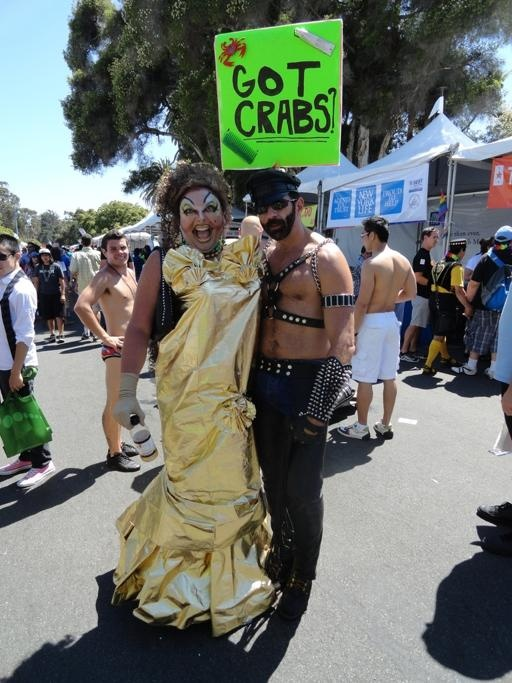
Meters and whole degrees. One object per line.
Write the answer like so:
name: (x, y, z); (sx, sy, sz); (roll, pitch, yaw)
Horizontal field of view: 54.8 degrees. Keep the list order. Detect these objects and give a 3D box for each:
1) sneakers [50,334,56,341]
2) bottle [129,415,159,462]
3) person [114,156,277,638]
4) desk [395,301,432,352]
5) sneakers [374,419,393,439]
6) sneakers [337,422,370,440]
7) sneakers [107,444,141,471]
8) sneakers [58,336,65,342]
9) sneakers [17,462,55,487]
sneakers: (-3.931, -0.039, 9.661); (0.081, 0.102, 0.237); (-3, 26, -11)
bottle: (-0.446, 0.380, 2.003); (0.109, 0.225, 0.110); (-1, 5, 0)
person: (-0.243, 0.255, 2.133); (0.899, 1.867, 0.720); (-5, 13, -18)
desk: (2.566, -0.312, 8.021); (0.568, 0.735, 0.445); (-7, -20, 42)
sneakers: (1.097, 0.767, 4.289); (0.076, 0.093, 0.221); (3, 11, -3)
sneakers: (0.837, 0.774, 4.282); (0.290, 0.132, 0.114); (5, 14, 35)
sneakers: (-1.018, 0.892, 3.795); (0.342, 0.146, 0.120); (-1, 4, 31)
sneakers: (-3.649, -0.031, 9.373); (0.110, 0.123, 0.282); (-5, 11, -19)
sneakers: (-1.561, 0.956, 3.556); (0.093, 0.101, 0.256); (-2, 1, 14)
